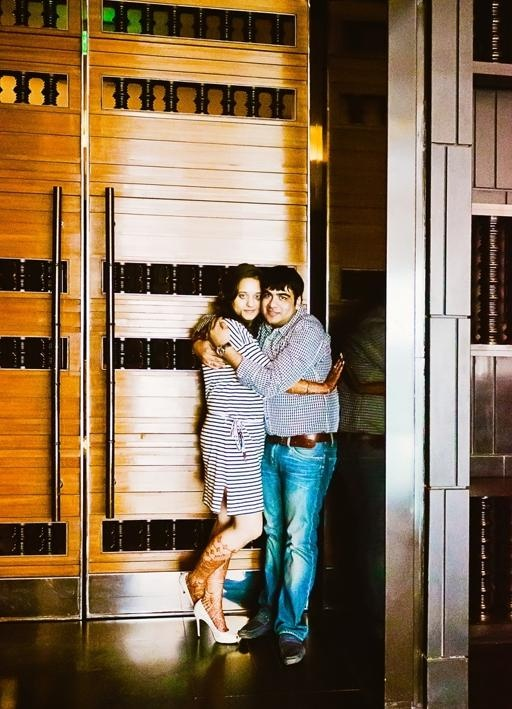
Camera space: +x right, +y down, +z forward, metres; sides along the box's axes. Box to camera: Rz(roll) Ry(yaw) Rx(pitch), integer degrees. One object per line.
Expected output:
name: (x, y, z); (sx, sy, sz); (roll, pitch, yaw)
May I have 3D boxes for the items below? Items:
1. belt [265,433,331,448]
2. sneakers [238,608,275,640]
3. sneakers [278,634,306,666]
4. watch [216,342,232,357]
belt: (0.153, 0.313, 3.584); (0.244, 0.054, 0.080); (-1, -1, 12)
sneakers: (-0.003, 1.005, 3.664); (0.053, 0.061, 0.150); (-7, -13, 29)
sneakers: (0.125, 1.045, 3.542); (0.093, 0.084, 0.168); (-1, -1, 3)
watch: (-0.117, -0.017, 3.539); (0.057, 0.037, 0.054); (-13, -5, 11)
